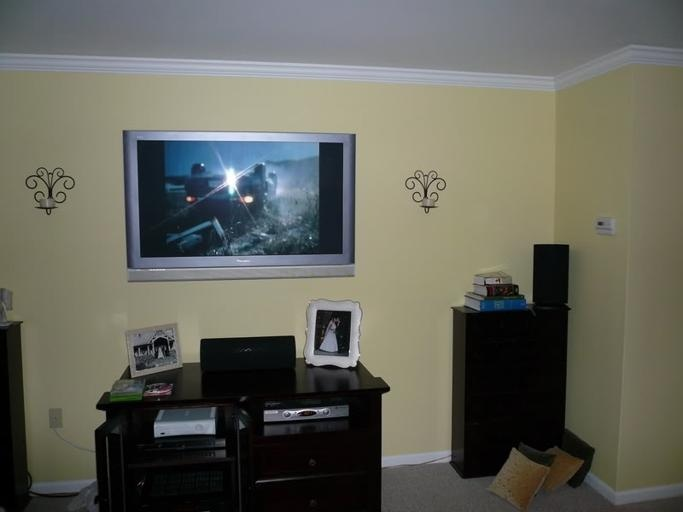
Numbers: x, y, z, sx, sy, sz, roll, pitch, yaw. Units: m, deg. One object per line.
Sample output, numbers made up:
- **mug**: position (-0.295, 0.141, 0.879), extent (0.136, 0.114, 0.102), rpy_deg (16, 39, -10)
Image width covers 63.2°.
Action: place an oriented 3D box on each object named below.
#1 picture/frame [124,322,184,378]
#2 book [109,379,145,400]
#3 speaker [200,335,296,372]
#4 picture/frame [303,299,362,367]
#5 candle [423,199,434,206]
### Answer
- **picture/frame**: position (-1.242, 0.631, 3.675), extent (0.290, 0.297, 0.023), rpy_deg (-6, -6, -32)
- **book**: position (-1.308, 0.820, 3.422), extent (0.199, 0.071, 0.266), rpy_deg (-2, 5, -11)
- **speaker**: position (-0.614, 0.645, 3.702), extent (0.604, 0.199, 0.123), rpy_deg (-1, 4, 2)
- **picture/frame**: position (-0.055, 0.534, 3.799), extent (0.394, 0.495, 0.038), rpy_deg (2, -2, 3)
- **candle**: position (0.626, -0.379, 3.955), extent (0.055, 0.042, 0.058), rpy_deg (0, 1, -1)
